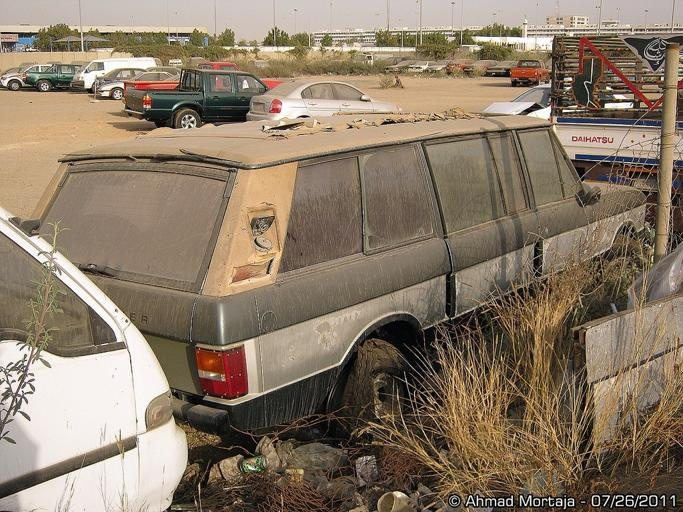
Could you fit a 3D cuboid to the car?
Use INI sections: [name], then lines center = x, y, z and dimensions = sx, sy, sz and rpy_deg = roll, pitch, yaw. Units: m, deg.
[car]
center = 0.232, -0.140, 4.878
dimensions = 4.452, 1.765, 2.250
rpy_deg = -24, 29, -37
